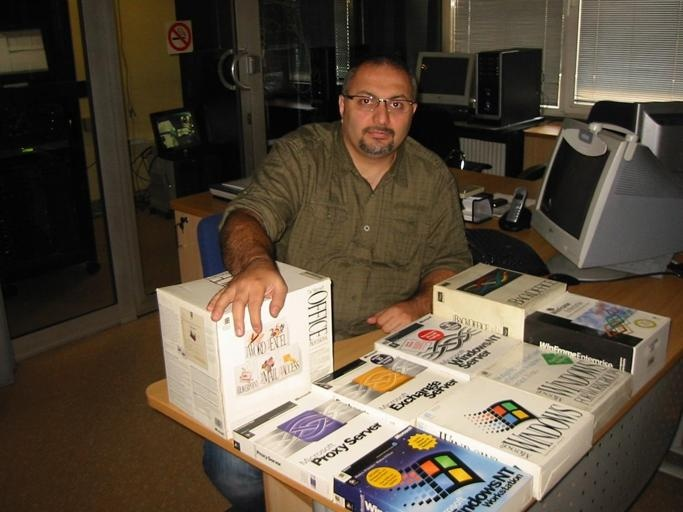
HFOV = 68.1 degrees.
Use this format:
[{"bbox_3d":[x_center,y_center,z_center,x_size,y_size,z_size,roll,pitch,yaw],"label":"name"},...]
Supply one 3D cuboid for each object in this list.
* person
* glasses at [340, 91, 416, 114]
[{"bbox_3d":[-0.037,-0.153,1.723,0.632,0.973,1.099,16,27,36],"label":"person"},{"bbox_3d":[0.142,-0.562,1.852,0.267,0.069,0.103,0,22,3],"label":"glasses"}]
